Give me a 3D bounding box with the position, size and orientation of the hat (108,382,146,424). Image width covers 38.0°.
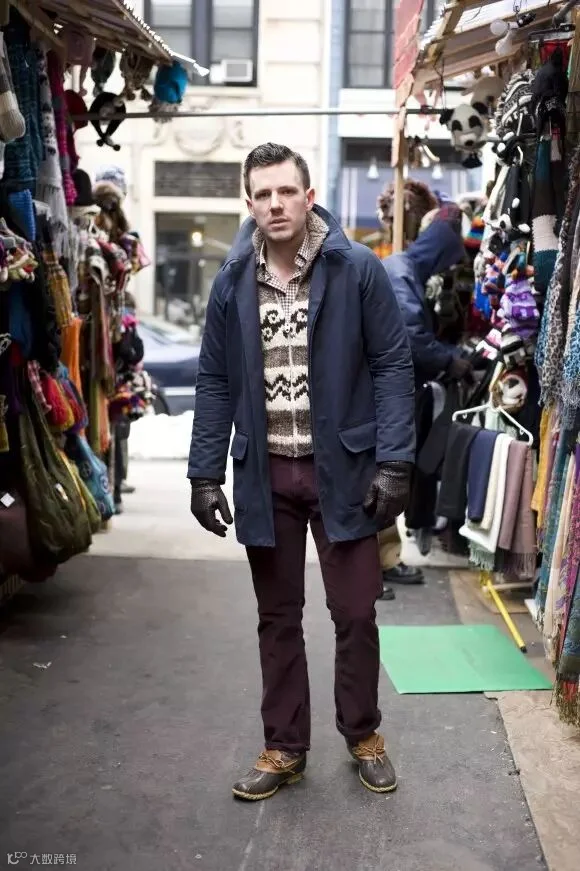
[{"bbox_3d":[-1.301,-0.247,6.686,0.242,0.311,0.547,1,3,3],"label":"hat"}]

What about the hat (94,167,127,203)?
[{"bbox_3d":[-1.294,-1.796,6.039,0.229,0.261,0.336,0,3,-14],"label":"hat"}]

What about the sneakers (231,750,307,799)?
[{"bbox_3d":[-0.057,1.004,2.540,0.091,0.109,0.241,6,4,41],"label":"sneakers"}]

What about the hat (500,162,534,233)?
[{"bbox_3d":[1.021,-1.086,3.818,0.110,0.329,0.322,2,3,9],"label":"hat"}]

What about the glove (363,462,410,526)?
[{"bbox_3d":[0.272,0.177,2.397,0.124,0.205,0.142,1,3,7],"label":"glove"}]

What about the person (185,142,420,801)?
[{"bbox_3d":[0.019,0.114,2.512,0.660,1.896,0.397,1,3,-2],"label":"person"}]

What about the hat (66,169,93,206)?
[{"bbox_3d":[-1.219,-1.457,4.912,0.095,0.239,0.332,1,3,-3],"label":"hat"}]

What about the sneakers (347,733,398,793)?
[{"bbox_3d":[0.235,0.991,2.581,0.081,0.099,0.225,-13,4,-15],"label":"sneakers"}]

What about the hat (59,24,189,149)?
[{"bbox_3d":[-1.048,-2.214,5.560,0.891,0.733,0.622,0,4,-22],"label":"hat"}]

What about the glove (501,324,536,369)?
[{"bbox_3d":[1.123,-0.421,4.186,0.154,0.217,0.083,8,-3,19],"label":"glove"}]

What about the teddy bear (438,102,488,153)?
[{"bbox_3d":[1.093,-1.962,5.419,0.275,0.281,0.269,-11,21,-6],"label":"teddy bear"}]

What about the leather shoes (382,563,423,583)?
[{"bbox_3d":[0.693,0.857,5.189,0.306,0.135,0.117,-6,-1,21],"label":"leather shoes"}]

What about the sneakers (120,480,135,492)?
[{"bbox_3d":[-1.640,0.494,8.364,0.093,0.117,0.206,11,3,13],"label":"sneakers"}]

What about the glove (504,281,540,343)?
[{"bbox_3d":[1.069,-0.564,3.907,0.168,0.246,0.087,-2,-6,27],"label":"glove"}]

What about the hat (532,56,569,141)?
[{"bbox_3d":[0.991,-1.306,3.231,0.124,0.359,0.248,2,3,16],"label":"hat"}]

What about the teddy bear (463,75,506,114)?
[{"bbox_3d":[1.221,-2.156,5.358,0.216,0.266,0.243,1,11,1],"label":"teddy bear"}]
